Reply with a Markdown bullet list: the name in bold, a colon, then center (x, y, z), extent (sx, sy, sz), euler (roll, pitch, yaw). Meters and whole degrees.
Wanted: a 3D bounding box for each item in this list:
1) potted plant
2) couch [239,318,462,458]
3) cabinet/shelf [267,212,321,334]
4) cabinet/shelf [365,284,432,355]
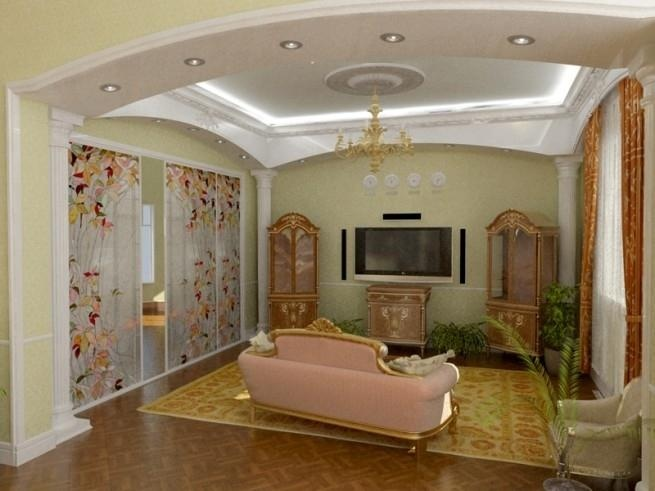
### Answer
- **potted plant**: center (3.335, 1.166, 7.621), extent (0.484, 1.260, 1.010), euler (3, 9, 24)
- **couch**: center (0.213, 1.361, 5.688), extent (2.295, 1.230, 1.008), euler (1, 7, 31)
- **cabinet/shelf**: center (-0.569, 0.422, 8.940), extent (0.863, 1.953, 0.366), euler (-1, 8, -3)
- **cabinet/shelf**: center (1.266, 1.214, 8.807), extent (1.066, 0.985, 0.698), euler (-2, -4, 34)
